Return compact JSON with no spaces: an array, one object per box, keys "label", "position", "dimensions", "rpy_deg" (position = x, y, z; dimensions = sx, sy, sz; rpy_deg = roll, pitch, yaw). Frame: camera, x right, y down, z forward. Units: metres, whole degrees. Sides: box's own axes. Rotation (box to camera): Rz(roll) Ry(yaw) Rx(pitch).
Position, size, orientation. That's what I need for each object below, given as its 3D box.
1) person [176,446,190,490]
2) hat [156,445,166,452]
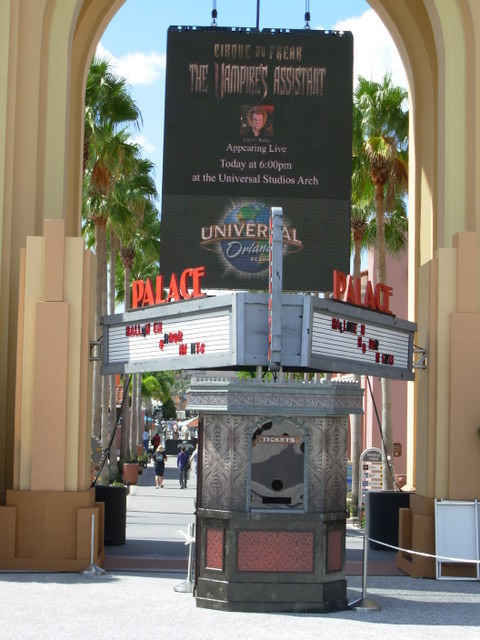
[{"label":"person","position":[-1.895,4.921,38.922],"dimensions":[0.351,1.437,0.421],"rpy_deg":[3,-26,-7]},{"label":"hat","position":[-2.615,4.207,38.082],"dimensions":[0.188,0.305,0.694],"rpy_deg":[0,-1,3]}]
